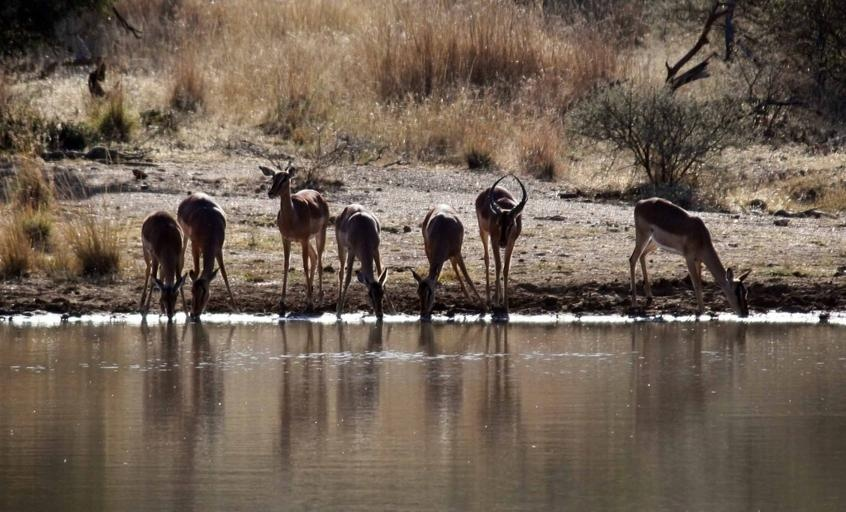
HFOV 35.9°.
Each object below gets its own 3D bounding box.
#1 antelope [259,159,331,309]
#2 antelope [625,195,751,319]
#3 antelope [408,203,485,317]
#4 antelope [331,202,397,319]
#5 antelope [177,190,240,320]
[{"bbox_3d":[-2.659,-0.365,28.308,1.212,3.024,2.192,0,5,-3],"label":"antelope"},{"bbox_3d":[5.550,0.023,27.712,2.311,2.400,0.888,1,5,8],"label":"antelope"},{"bbox_3d":[0.534,0.130,27.666,1.374,2.272,1.724,1,5,10],"label":"antelope"},{"bbox_3d":[-1.290,-0.119,27.299,0.895,1.628,2.688,-3,17,-6],"label":"antelope"},{"bbox_3d":[-4.591,-0.034,27.606,1.156,2.779,1.440,2,-1,-12],"label":"antelope"}]
